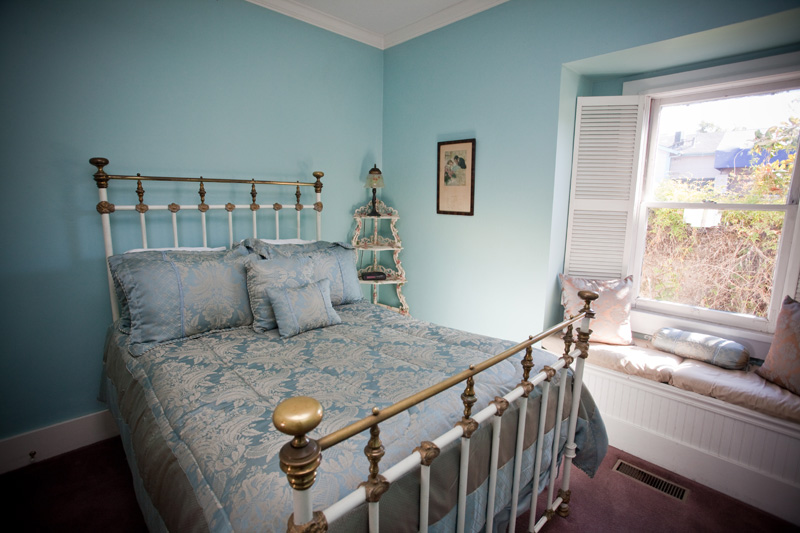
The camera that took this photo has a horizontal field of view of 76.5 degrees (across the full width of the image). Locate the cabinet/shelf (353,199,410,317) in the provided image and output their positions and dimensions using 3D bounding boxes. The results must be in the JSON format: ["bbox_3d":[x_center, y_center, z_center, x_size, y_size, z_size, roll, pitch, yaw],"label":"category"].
[{"bbox_3d":[-0.232,-0.065,4.849,0.624,1.060,0.421,0,11,-7],"label":"cabinet/shelf"}]

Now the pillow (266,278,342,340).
[{"bbox_3d":[-0.659,0.289,3.429,0.460,0.339,0.129,-11,-10,-38],"label":"pillow"}]

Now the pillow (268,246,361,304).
[{"bbox_3d":[-0.630,0.066,4.045,0.231,0.495,0.504,-17,0,43],"label":"pillow"}]

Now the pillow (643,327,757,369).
[{"bbox_3d":[2.204,0.594,3.727,0.563,0.193,0.258,12,33,39],"label":"pillow"}]

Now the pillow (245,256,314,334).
[{"bbox_3d":[-0.909,0.202,3.534,0.519,0.460,0.152,0,-7,-32],"label":"pillow"}]

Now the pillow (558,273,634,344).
[{"bbox_3d":[1.565,0.305,4.129,0.530,0.575,0.209,1,34,35],"label":"pillow"}]
